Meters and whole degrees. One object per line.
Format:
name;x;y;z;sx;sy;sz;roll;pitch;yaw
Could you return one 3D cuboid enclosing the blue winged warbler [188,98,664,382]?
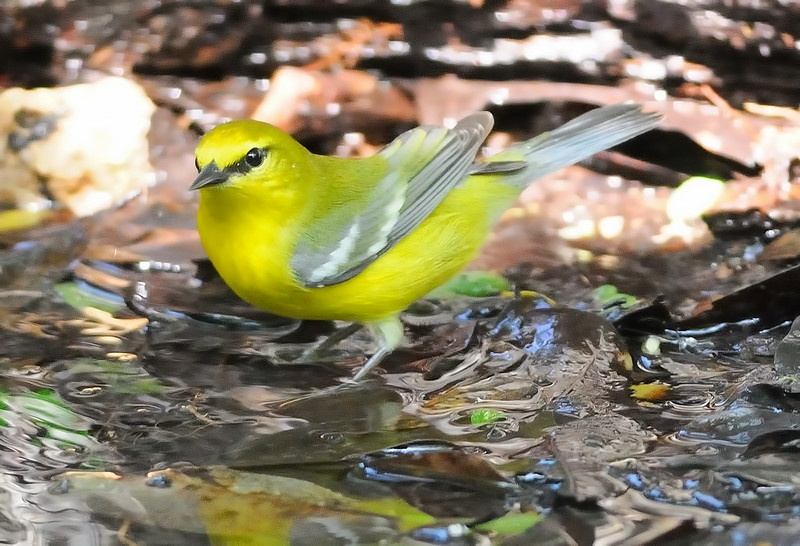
blue winged warbler;-0.033;-0.167;2.780;1.976;0.626;0.543;-16;27;-14
